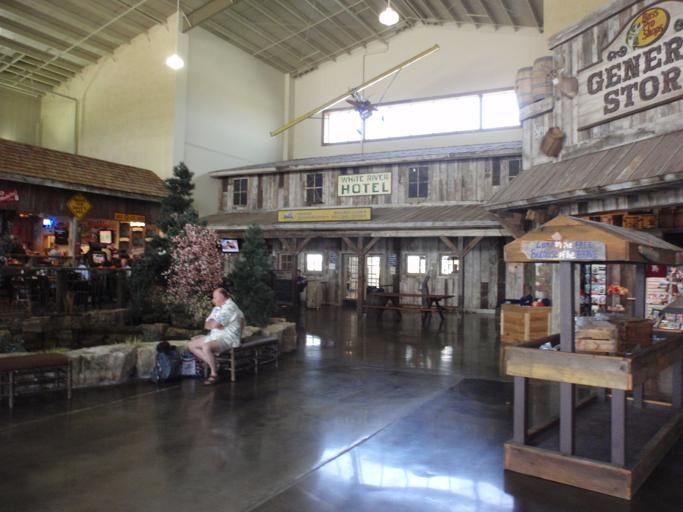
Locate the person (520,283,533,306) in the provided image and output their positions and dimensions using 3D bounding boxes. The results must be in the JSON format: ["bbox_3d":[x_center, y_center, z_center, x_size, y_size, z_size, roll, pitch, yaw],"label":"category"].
[{"bbox_3d":[5.527,1.160,16.071,0.499,0.925,0.485,0,-3,20],"label":"person"}]

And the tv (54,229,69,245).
[{"bbox_3d":[-11.386,-0.717,21.961,0.618,0.580,0.319,3,5,-6],"label":"tv"}]

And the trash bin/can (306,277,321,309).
[{"bbox_3d":[-1.040,1.489,20.816,0.600,0.939,0.927,1,5,-3],"label":"trash bin/can"}]

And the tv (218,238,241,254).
[{"bbox_3d":[-3.691,-0.296,17.788,0.709,0.678,0.093,-2,-35,-6],"label":"tv"}]

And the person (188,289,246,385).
[{"bbox_3d":[-2.145,1.341,9.391,0.638,1.549,0.937,5,6,36],"label":"person"}]

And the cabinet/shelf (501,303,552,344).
[{"bbox_3d":[4.009,1.494,11.731,0.701,0.917,0.978,0,-1,-32],"label":"cabinet/shelf"}]

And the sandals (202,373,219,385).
[{"bbox_3d":[-2.186,2.058,9.034,0.223,0.142,0.227,0,5,-6],"label":"sandals"}]
